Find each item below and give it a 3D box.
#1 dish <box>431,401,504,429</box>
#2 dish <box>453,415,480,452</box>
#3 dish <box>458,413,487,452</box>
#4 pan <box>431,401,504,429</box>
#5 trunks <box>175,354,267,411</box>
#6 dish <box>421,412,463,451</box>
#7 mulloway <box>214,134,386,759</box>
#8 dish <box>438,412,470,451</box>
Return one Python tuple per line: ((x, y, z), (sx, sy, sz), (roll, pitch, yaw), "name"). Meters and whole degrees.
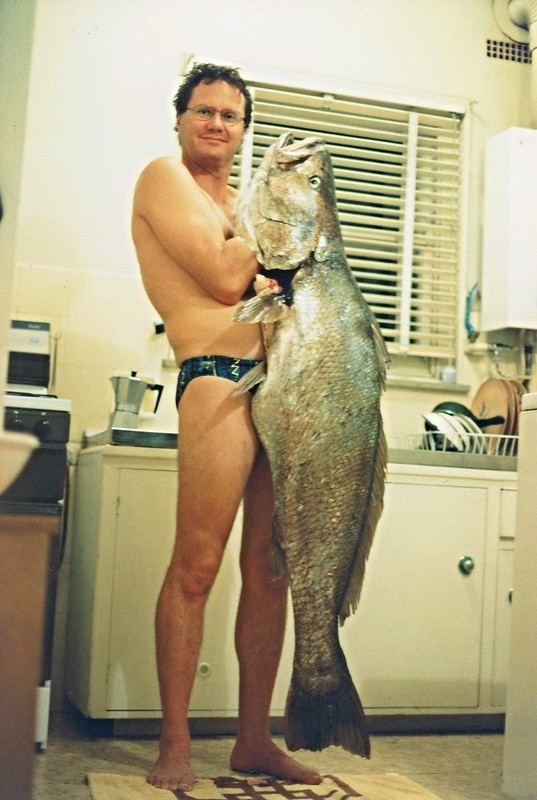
((0.633, 0.047, 3.022), (0.125, 0.028, 0.118), (-7, 23, -14), "dish")
((0.581, 0.097, 2.726), (0.055, 0.043, 0.144), (2, 20, 8), "dish")
((0.591, 0.101, 2.735), (0.051, 0.041, 0.141), (-5, 15, 13), "dish")
((0.624, 0.045, 3.030), (0.125, 0.028, 0.118), (-7, 23, -14), "pan")
((-0.087, -0.026, 1.710), (0.138, 0.076, 0.078), (11, -11, -23), "trunks")
((0.497, 0.110, 2.734), (0.106, 0.045, 0.106), (-9, 33, -34), "dish")
((0.042, 0.042, 1.726), (0.433, 1.055, 0.232), (-3, 3, -16), "mulloway")
((0.534, 0.092, 2.707), (0.088, 0.026, 0.098), (-7, 31, -13), "dish")
